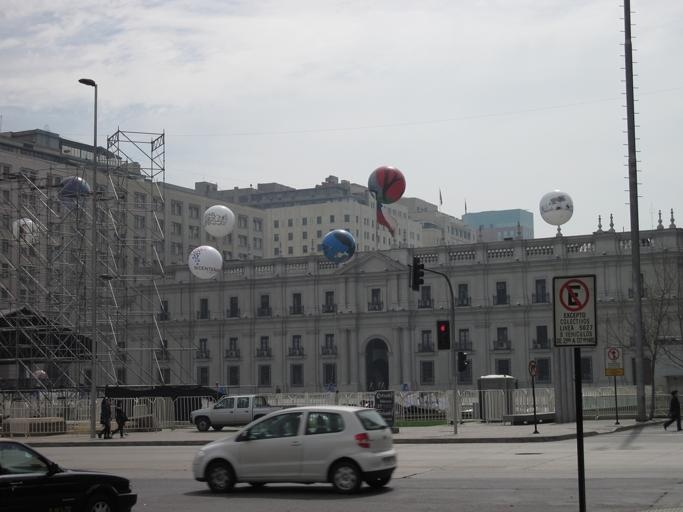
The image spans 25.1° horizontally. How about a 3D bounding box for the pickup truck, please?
[{"bbox_3d":[-6.139,9.193,90.414,5.596,2.159,2.562,0,0,0],"label":"pickup truck"}]
